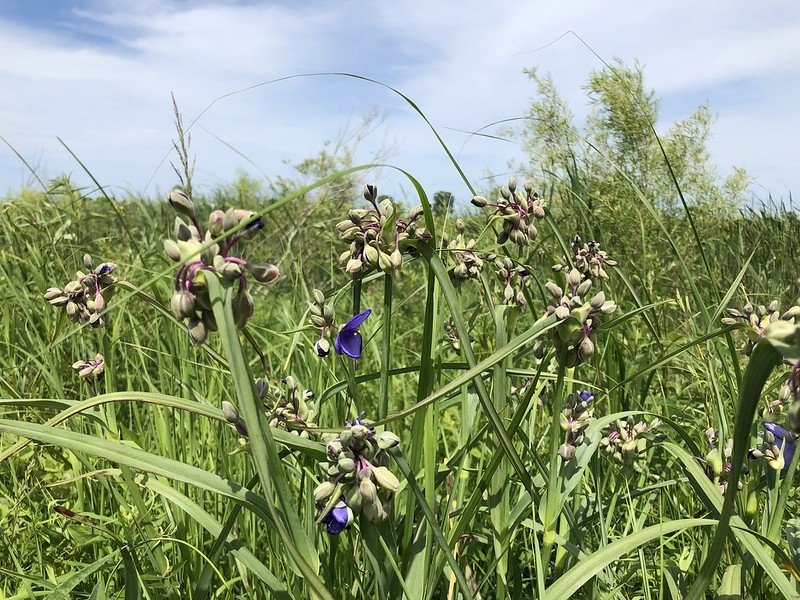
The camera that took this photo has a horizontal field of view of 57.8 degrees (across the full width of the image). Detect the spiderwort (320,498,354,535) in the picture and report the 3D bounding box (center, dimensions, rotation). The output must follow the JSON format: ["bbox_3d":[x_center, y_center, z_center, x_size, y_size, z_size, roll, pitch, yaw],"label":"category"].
[{"bbox_3d":[-0.203,0.709,2.342,0.118,0.112,0.070,-3,0,29],"label":"spiderwort"}]

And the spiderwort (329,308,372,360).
[{"bbox_3d":[-0.173,0.131,2.568,0.117,0.160,0.338,-3,0,-6],"label":"spiderwort"}]

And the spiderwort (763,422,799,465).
[{"bbox_3d":[1.416,0.559,2.706,0.104,0.186,0.226,-2,1,28],"label":"spiderwort"}]
